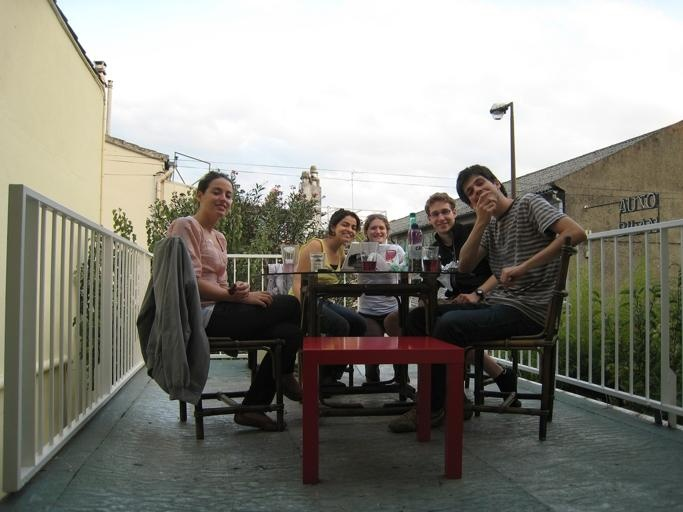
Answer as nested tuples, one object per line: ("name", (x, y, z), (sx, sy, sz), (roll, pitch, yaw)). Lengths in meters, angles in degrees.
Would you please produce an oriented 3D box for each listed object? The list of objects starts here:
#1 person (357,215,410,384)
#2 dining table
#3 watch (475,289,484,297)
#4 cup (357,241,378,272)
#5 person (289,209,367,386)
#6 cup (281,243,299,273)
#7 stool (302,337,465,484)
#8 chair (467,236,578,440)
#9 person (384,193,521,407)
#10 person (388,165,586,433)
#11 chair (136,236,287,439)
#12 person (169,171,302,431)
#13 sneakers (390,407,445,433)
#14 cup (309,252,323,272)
("person", (0.322, 0.360, 4.478), (0.462, 1.405, 0.722), (-1, 0, -2))
("dining table", (0.219, 0.457, 3.816), (1.015, 1.070, 0.969), (0, -3, -7))
("watch", (0.895, 0.234, 3.619), (0.056, 0.036, 0.051), (44, -13, 46))
("cup", (0.178, 0.006, 3.684), (0.151, 0.254, 0.158), (2, -8, 0))
("person", (-0.095, 0.317, 4.490), (0.643, 1.406, 0.551), (-1, -6, 37))
("cup", (-0.396, 0.017, 4.220), (0.165, 0.186, 0.163), (1, -5, 0))
("stool", (0.219, 0.691, 2.823), (0.638, 0.535, 0.695), (0, -7, -2))
("chair", (1.068, 0.495, 3.427), (0.808, 1.108, 0.855), (2, -4, 2))
("person", (0.729, 0.303, 3.571), (0.576, 1.281, 1.427), (-11, 20, 0))
("person", (0.890, 0.208, 3.505), (1.078, 1.576, 0.723), (-4, -6, 11))
("chair", (-0.772, 0.466, 3.303), (0.706, 1.111, 0.701), (1, -7, -38))
("person", (-0.633, 0.291, 3.513), (0.758, 1.562, 0.557), (-5, -2, -12))
("sneakers", (0.416, 0.939, 3.309), (0.360, 0.168, 0.135), (-3, -3, -15))
("cup", (-0.165, 0.032, 3.592), (0.097, 0.132, 0.102), (0, -4, 0))
